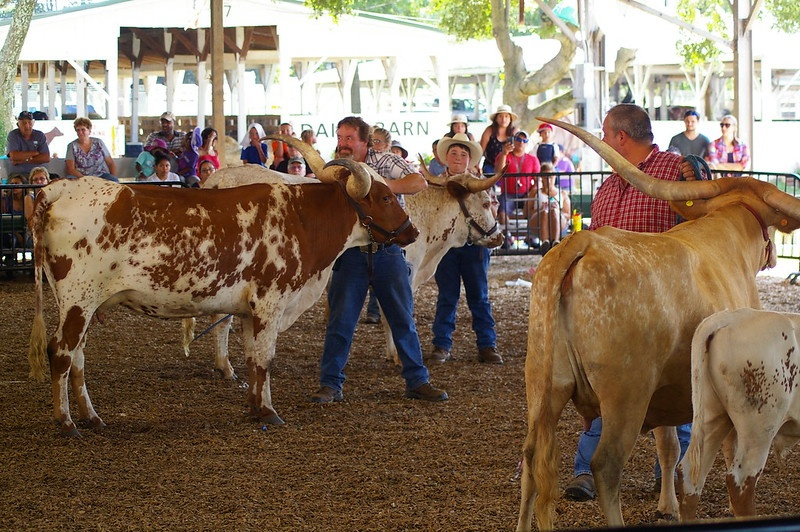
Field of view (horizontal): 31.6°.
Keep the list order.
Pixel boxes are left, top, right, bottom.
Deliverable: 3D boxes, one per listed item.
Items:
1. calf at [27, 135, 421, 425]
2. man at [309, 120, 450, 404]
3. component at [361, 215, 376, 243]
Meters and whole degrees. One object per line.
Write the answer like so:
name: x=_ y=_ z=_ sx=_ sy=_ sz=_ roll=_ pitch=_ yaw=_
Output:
calf: x=-2.363 y=0.394 z=19.545 sx=3.379 sy=2.872 sz=1.248 roll=1 pitch=-16 yaw=-13
man: x=-0.387 y=0.013 z=19.302 sx=1.647 sy=4.200 sz=1.260 roll=2 pitch=22 yaw=9
component: x=-0.436 y=-0.499 z=19.196 sx=0.071 sy=0.329 sz=0.222 roll=-12 pitch=-1 yaw=10
